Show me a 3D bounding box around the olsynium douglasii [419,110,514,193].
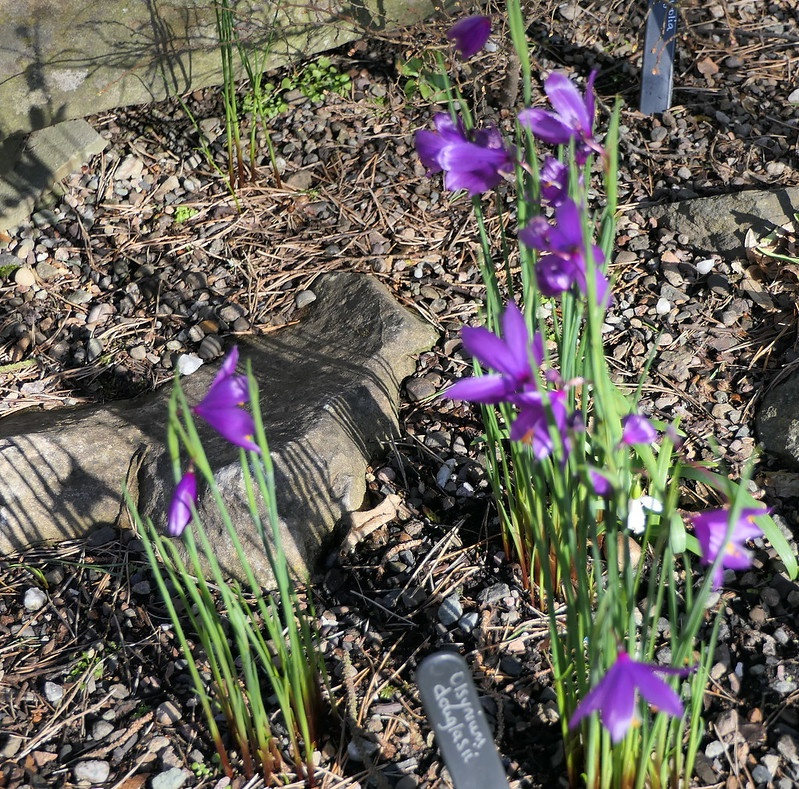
[{"bbox_3d":[0.098,-0.369,1.259,0.135,0.114,0.169,-13,25,9],"label":"olsynium douglasii"}]

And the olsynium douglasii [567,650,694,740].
[{"bbox_3d":[0.279,0.391,1.051,0.138,0.090,0.074,-21,25,-9],"label":"olsynium douglasii"}]

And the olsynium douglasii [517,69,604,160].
[{"bbox_3d":[0.223,-0.396,1.175,0.101,0.098,0.144,-12,25,12],"label":"olsynium douglasii"}]

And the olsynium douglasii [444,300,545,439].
[{"bbox_3d":[0.137,-0.040,1.113,0.121,0.164,0.153,-1,30,31],"label":"olsynium douglasii"}]
